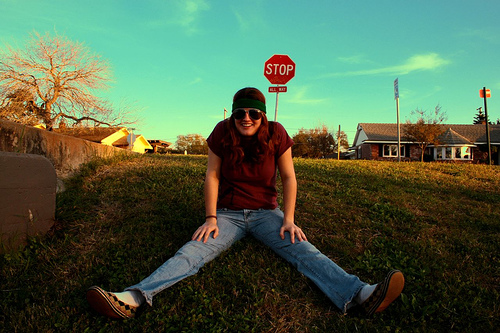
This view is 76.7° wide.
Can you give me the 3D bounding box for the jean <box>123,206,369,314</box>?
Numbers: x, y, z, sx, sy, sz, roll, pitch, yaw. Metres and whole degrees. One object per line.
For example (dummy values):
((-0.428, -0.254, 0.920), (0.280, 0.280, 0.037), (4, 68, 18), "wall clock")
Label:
((0.051, 1.214, 4.339), (2.735, 1.024, 1.024), (4, 10, -1), "jean")
